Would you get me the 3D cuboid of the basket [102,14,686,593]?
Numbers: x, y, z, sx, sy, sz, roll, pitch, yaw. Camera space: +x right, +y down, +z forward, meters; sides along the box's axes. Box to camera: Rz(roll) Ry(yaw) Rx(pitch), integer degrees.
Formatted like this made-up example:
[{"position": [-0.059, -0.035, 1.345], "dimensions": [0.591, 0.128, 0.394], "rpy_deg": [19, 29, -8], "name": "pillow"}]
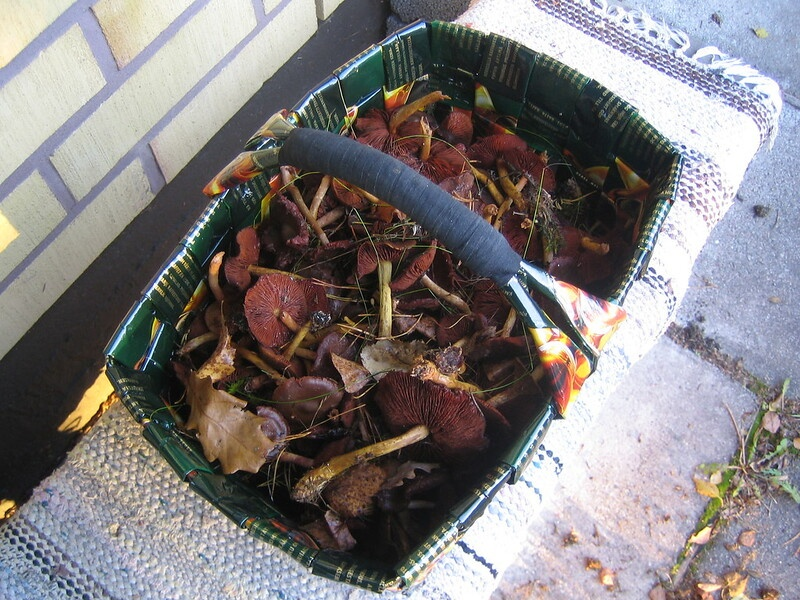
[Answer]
[{"position": [-0.042, -0.172, 2.130], "dimensions": [1.098, 0.609, 1.758], "rpy_deg": [35, 78, 3], "name": "basket"}]
